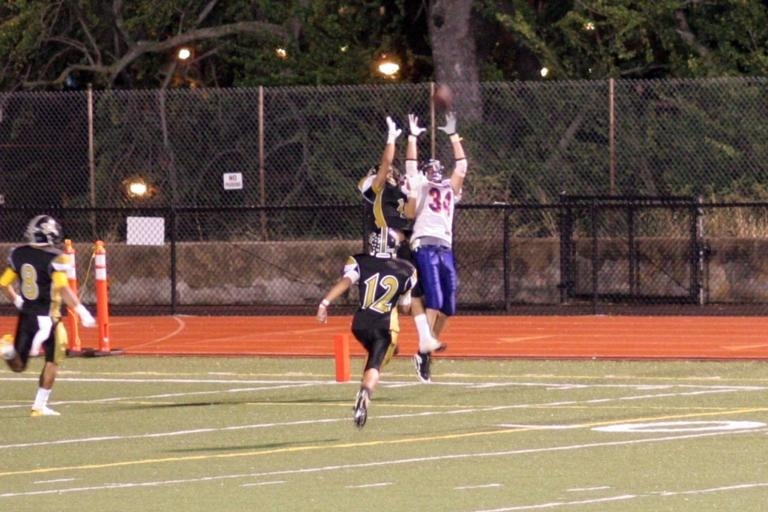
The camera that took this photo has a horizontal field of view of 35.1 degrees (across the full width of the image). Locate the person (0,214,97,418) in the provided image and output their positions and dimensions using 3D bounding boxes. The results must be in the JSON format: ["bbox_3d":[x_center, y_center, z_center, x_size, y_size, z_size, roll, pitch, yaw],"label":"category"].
[{"bbox_3d":[-4.763,0.819,16.992,1.252,2.794,0.748,-1,1,-2],"label":"person"}]

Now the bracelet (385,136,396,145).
[{"bbox_3d":[0.068,-1.641,17.057,0.120,0.116,0.110,0,-2,12],"label":"bracelet"}]

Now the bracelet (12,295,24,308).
[{"bbox_3d":[-5.140,0.628,17.018,0.161,0.190,0.182,-1,-19,-12],"label":"bracelet"}]

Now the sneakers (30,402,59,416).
[{"bbox_3d":[-4.716,2.137,16.997,0.506,0.182,0.151,-3,9,-17],"label":"sneakers"}]

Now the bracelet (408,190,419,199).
[{"bbox_3d":[0.387,-0.889,17.255,0.125,0.083,0.119,1,-3,8],"label":"bracelet"}]

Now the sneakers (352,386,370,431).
[{"bbox_3d":[-0.307,1.908,15.394,0.211,0.449,0.297,2,-9,-1],"label":"sneakers"}]

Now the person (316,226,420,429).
[{"bbox_3d":[-0.197,1.101,16.017,1.207,2.274,1.537,-1,1,1],"label":"person"}]
